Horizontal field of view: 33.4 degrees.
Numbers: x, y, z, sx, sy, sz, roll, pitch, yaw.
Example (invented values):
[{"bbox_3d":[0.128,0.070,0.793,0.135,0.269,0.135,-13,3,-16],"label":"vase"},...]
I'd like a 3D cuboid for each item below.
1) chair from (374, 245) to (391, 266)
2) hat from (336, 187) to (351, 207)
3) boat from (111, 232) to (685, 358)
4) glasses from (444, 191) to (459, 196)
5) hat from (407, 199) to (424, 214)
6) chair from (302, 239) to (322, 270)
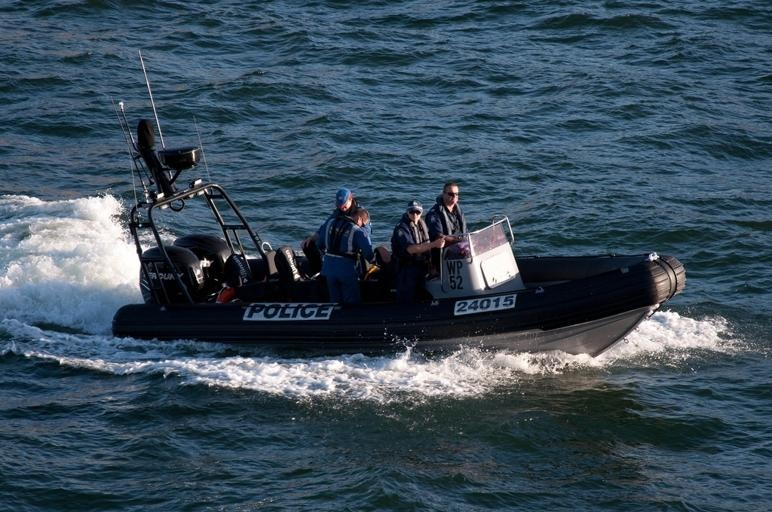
[{"bbox_3d":[-0.008,-0.008,19.254,0.283,0.287,0.129,20,56,21],"label":"chair"},{"bbox_3d":[-0.628,-0.869,19.102,0.212,0.251,0.295,-3,22,-1],"label":"hat"},{"bbox_3d":[0.577,0.658,19.515,9.645,1.164,2.429,-1,13,9],"label":"boat"},{"bbox_3d":[0.962,-0.904,19.017,0.156,0.083,0.041,-1,27,1],"label":"glasses"},{"bbox_3d":[0.417,-0.718,18.906,0.212,0.208,0.301,-2,21,1],"label":"hat"},{"bbox_3d":[-1.107,-0.020,19.741,0.379,0.440,0.153,0,23,30],"label":"chair"}]
